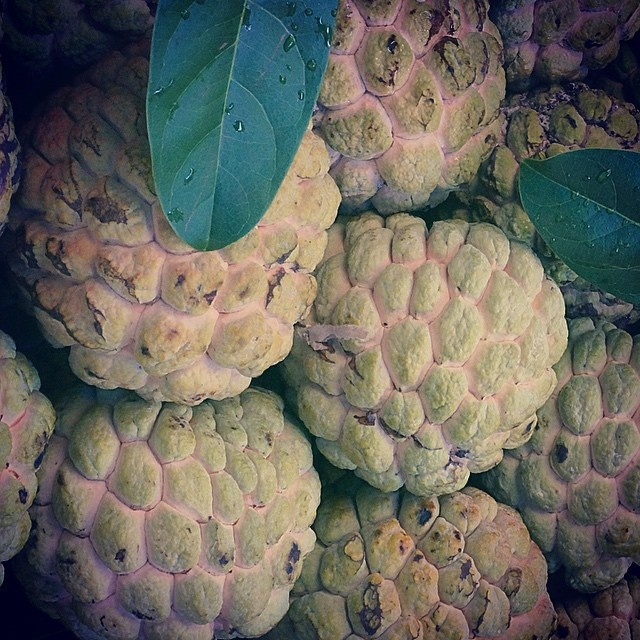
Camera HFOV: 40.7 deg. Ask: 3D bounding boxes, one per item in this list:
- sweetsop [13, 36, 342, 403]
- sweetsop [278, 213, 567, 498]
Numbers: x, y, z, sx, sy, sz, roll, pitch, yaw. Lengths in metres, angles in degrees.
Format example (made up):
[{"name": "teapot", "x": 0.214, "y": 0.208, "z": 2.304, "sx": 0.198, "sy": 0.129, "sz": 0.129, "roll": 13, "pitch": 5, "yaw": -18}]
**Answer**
[{"name": "sweetsop", "x": -0.227, "y": -0.128, "z": 1.459, "sx": 0.397, "sy": 0.519, "sz": 0.510, "roll": 2, "pitch": 88, "yaw": -5}, {"name": "sweetsop", "x": 0.154, "y": 0.023, "z": 1.490, "sx": 0.426, "sy": 0.397, "sz": 0.428, "roll": -17, "pitch": 90, "yaw": -29}]
